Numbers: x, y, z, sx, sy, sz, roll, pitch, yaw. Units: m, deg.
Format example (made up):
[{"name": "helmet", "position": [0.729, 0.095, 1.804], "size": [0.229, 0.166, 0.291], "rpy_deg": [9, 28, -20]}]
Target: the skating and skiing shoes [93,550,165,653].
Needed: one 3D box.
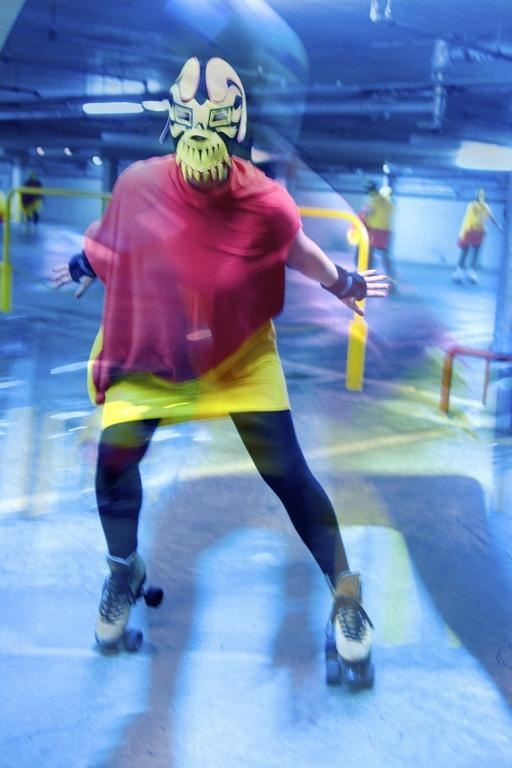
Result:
[{"name": "skating and skiing shoes", "position": [-0.174, 0.308, 0.979], "size": [0.158, 0.117, 0.112], "rpy_deg": [-2, 20, -8]}]

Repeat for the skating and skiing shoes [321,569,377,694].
[{"name": "skating and skiing shoes", "position": [0.136, 0.338, 0.937], "size": [0.061, 0.102, 0.186], "rpy_deg": [6, 11, 1]}]
